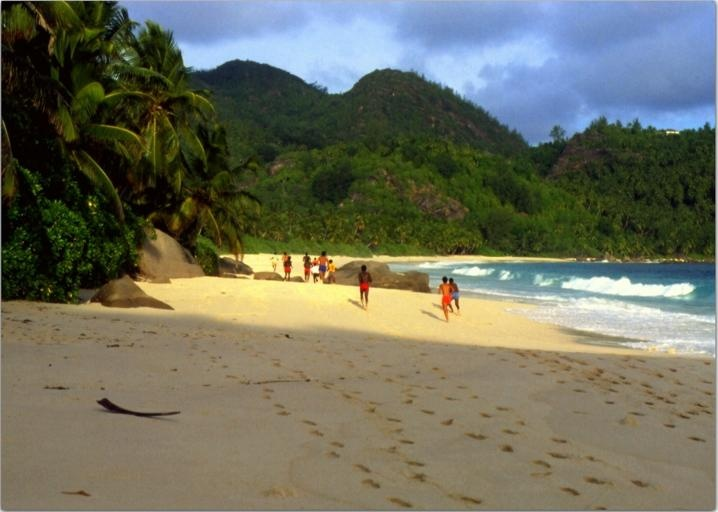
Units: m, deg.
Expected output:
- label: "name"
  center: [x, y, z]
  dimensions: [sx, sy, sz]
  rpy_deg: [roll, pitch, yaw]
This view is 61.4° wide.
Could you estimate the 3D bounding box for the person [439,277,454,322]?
- label: "person"
  center: [2.736, 1.245, 18.849]
  dimensions: [0.377, 1.530, 2.242]
  rpy_deg: [5, 11, 9]
